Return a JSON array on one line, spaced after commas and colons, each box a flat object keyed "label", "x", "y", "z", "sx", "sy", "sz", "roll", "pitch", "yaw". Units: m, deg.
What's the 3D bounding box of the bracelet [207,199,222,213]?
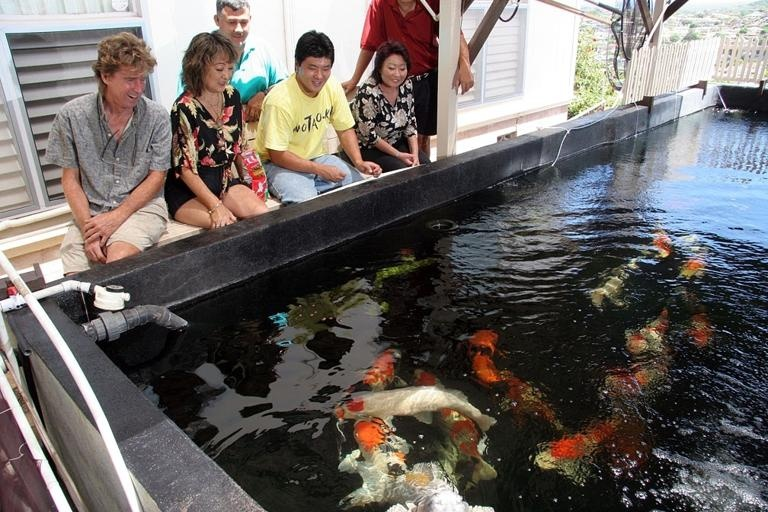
[{"label": "bracelet", "x": -1.184, "y": -0.341, "z": 3.328, "sx": 0.105, "sy": 0.030, "sz": 0.086, "roll": -35, "pitch": 2, "yaw": -2}]

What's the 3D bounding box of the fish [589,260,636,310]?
[{"label": "fish", "x": 1.494, "y": 0.198, "z": 3.131, "sx": 0.219, "sy": 0.168, "sz": 0.572, "roll": 12, "pitch": 28, "yaw": 22}]

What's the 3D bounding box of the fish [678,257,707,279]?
[{"label": "fish", "x": 2.153, "y": 0.087, "z": 3.324, "sx": 0.131, "sy": 0.045, "sz": 0.194, "roll": 17, "pitch": 35, "yaw": 40}]

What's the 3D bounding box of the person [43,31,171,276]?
[{"label": "person", "x": -1.742, "y": -0.680, "z": 3.010, "sx": 0.770, "sy": 1.305, "sz": 0.607, "roll": -13, "pitch": 27, "yaw": -20}]

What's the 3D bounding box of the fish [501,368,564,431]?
[{"label": "fish", "x": 0.711, "y": 0.714, "z": 2.358, "sx": 0.181, "sy": 0.079, "sz": 0.370, "roll": -8, "pitch": 25, "yaw": -11}]

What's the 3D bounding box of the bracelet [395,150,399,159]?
[{"label": "bracelet", "x": 0.126, "y": -0.984, "z": 4.604, "sx": 0.051, "sy": 0.068, "sz": 0.090, "roll": -2, "pitch": 25, "yaw": 3}]

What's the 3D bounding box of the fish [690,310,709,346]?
[{"label": "fish", "x": 1.847, "y": 0.424, "z": 2.795, "sx": 0.091, "sy": 0.086, "sz": 0.276, "roll": -13, "pitch": 12, "yaw": 20}]
